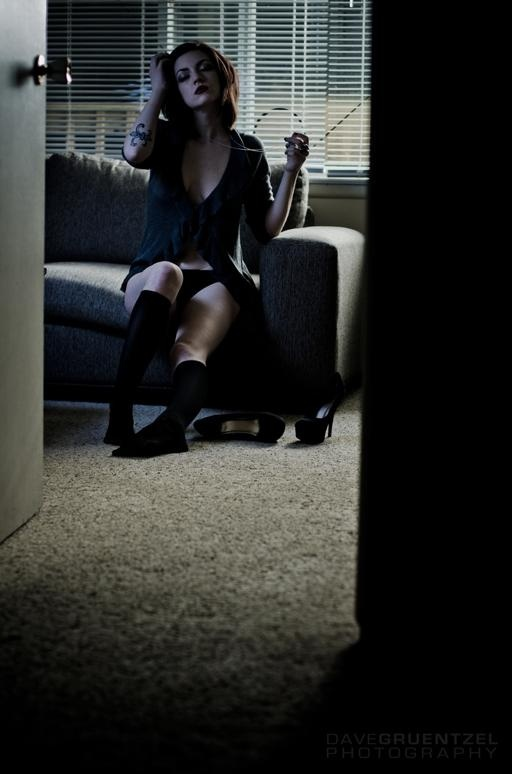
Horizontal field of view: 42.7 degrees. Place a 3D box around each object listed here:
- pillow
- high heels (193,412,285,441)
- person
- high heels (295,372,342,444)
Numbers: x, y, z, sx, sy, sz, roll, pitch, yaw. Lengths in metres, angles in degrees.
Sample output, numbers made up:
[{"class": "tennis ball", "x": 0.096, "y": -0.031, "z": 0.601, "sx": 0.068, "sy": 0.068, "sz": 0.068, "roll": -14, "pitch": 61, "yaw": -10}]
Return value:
[{"class": "pillow", "x": -0.571, "y": -0.640, "z": 2.363, "sx": 0.386, "sy": 0.439, "sz": 0.148, "roll": 3, "pitch": -5, "yaw": 3}, {"class": "high heels", "x": -0.036, "y": 0.086, "z": 1.781, "sx": 0.255, "sy": 0.103, "sz": 0.102, "roll": 0, "pitch": 9, "yaw": 5}, {"class": "person", "x": -0.149, "y": -0.410, "z": 1.809, "sx": 0.598, "sy": 1.079, "sz": 0.437, "roll": -3, "pitch": 5, "yaw": -29}, {"class": "high heels", "x": 0.180, "y": 0.052, "z": 1.828, "sx": 0.114, "sy": 0.165, "sz": 0.331, "roll": 1, "pitch": 6, "yaw": 10}]
